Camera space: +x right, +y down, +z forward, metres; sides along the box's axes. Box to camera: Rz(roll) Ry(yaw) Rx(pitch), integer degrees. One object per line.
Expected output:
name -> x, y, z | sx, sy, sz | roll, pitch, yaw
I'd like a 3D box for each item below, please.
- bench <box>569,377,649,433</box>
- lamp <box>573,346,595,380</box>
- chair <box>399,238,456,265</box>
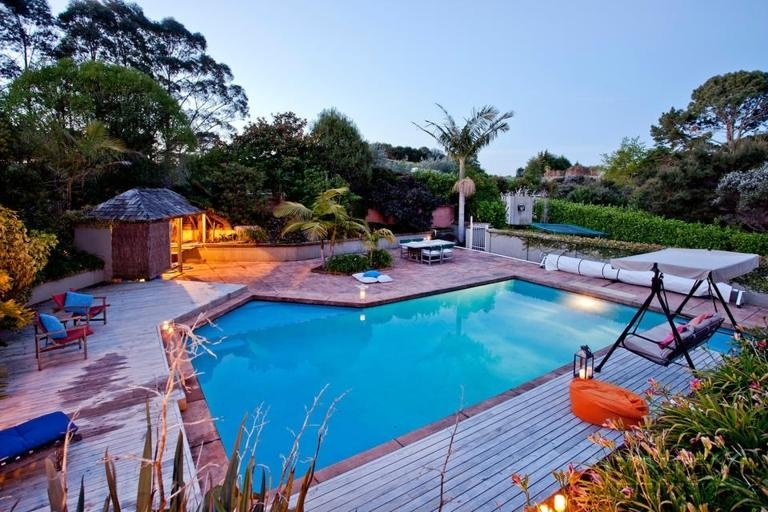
bench -> 5.004, 3.409, 10.179 | 1.524, 0.818, 0.681 | 8, 11, 26
lamp -> 5.016, 2.675, 11.256 | 0.409, 0.792, 0.436 | -1, 1, -28
chair -> 2.183, -0.278, 21.982 | 2.462, 1.024, 2.142 | 4, 9, 7
